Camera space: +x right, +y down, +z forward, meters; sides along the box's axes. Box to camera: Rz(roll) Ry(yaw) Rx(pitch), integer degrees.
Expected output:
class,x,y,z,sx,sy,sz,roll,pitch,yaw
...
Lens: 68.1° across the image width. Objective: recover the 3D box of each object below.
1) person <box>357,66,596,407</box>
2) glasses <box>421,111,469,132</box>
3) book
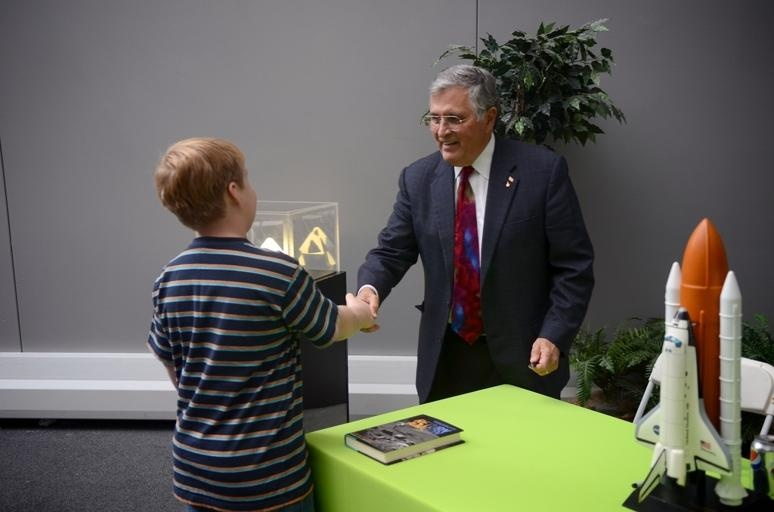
class,x,y,z,sx,sy,sz,roll,pitch,yaw
person,0.400,-0.062,2.579,0.997,1.557,0.505,3,10,18
glasses,0.257,-0.589,2.492,0.171,0.071,0.061,6,11,34
book,0.065,0.627,1.974,0.233,0.040,0.170,-7,10,-41
